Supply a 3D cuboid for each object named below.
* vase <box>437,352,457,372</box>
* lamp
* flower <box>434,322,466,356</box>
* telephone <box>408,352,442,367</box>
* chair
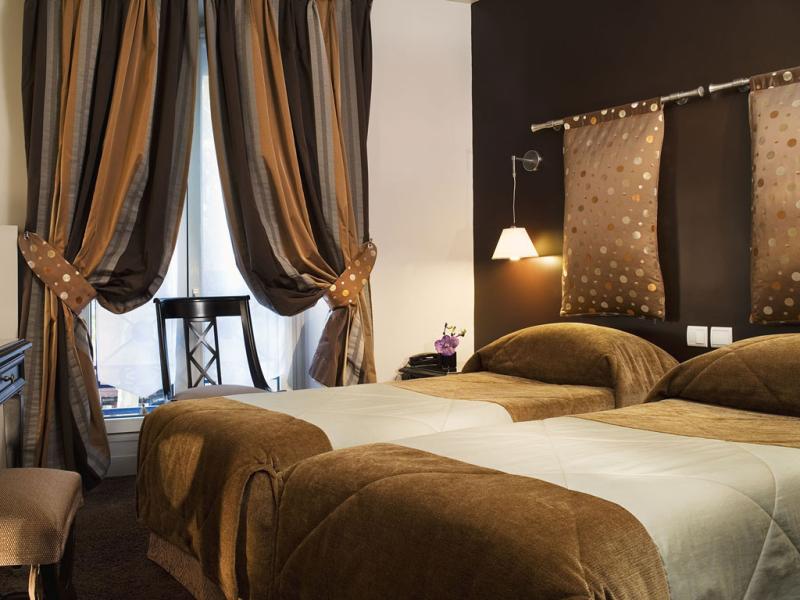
[{"bbox_3d":[0.306,0.394,4.623,0.094,0.150,0.133,-3,5,-38],"label":"vase"},{"bbox_3d":[0.762,-0.627,4.555,0.282,0.783,0.281,0,-8,15],"label":"lamp"},{"bbox_3d":[0.307,0.252,4.702,0.196,0.226,0.072,36,-29,-29],"label":"flower"},{"bbox_3d":[0.158,0.405,4.715,0.131,0.062,0.106,6,-8,-30],"label":"telephone"},{"bbox_3d":[-1.119,0.199,4.505,0.658,0.954,0.581,-3,1,-32],"label":"chair"}]
